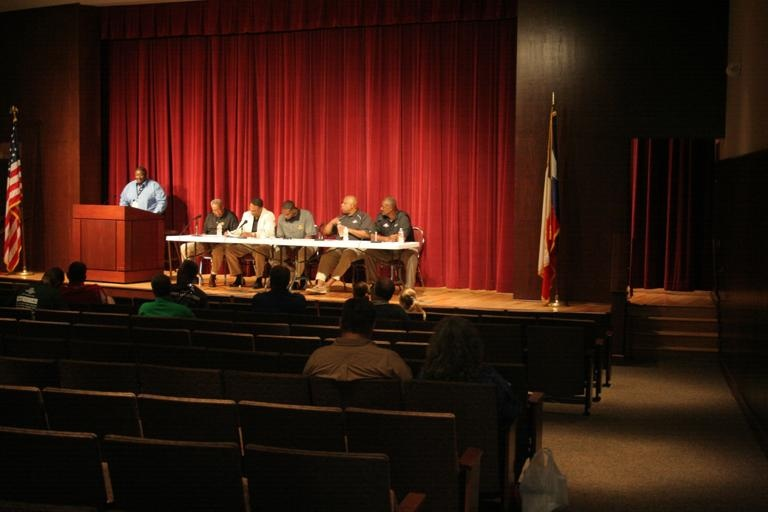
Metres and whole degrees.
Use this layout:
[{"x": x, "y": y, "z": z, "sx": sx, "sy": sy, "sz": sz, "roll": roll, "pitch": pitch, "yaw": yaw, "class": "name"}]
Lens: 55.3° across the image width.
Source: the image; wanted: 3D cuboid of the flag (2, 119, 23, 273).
[{"x": -6.115, "y": -0.923, "z": 12.005, "sx": 0.297, "sy": 2.452, "sz": 0.947, "roll": -2, "pitch": 15, "yaw": -27, "class": "flag"}]

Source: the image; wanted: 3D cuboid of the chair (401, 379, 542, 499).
[{"x": 0.602, "y": 1.112, "z": 4.978, "sx": 0.729, "sy": 0.979, "sz": 0.746, "roll": 0, "pitch": 12, "yaw": 19, "class": "chair"}]

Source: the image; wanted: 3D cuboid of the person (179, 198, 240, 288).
[{"x": -2.624, "y": -0.229, "z": 11.014, "sx": 0.800, "sy": 1.220, "sz": 0.827, "roll": 1, "pitch": 8, "yaw": -3, "class": "person"}]

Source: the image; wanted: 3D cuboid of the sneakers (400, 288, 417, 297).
[{"x": 0.252, "y": 0.386, "z": 7.754, "sx": 0.163, "sy": 0.113, "sz": 0.199, "roll": -3, "pitch": 6, "yaw": 3, "class": "sneakers"}]

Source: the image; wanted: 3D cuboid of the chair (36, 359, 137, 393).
[{"x": -1.956, "y": 0.819, "z": 4.976, "sx": 0.588, "sy": 0.198, "sz": 0.384, "roll": 6, "pitch": -11, "yaw": -7, "class": "chair"}]

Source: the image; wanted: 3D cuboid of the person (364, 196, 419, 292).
[{"x": 0.153, "y": -0.175, "z": 10.516, "sx": 0.727, "sy": 1.336, "sz": 0.682, "roll": -1, "pitch": -2, "yaw": 23, "class": "person"}]

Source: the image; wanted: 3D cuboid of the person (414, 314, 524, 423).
[{"x": 0.484, "y": 0.741, "z": 4.930, "sx": 0.582, "sy": 0.818, "sz": 0.698, "roll": 1, "pitch": -5, "yaw": 31, "class": "person"}]

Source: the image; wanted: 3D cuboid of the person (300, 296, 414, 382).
[{"x": -0.196, "y": 0.580, "z": 5.047, "sx": 0.824, "sy": 0.597, "sz": 0.474, "roll": 1, "pitch": -7, "yaw": 15, "class": "person"}]

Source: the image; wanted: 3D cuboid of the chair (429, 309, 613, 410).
[{"x": 1.154, "y": 0.868, "z": 5.995, "sx": 0.946, "sy": 0.505, "sz": 0.386, "roll": 3, "pitch": 18, "yaw": 18, "class": "chair"}]

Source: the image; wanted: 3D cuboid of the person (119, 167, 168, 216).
[{"x": -4.012, "y": -1.064, "z": 12.142, "sx": 0.740, "sy": 0.751, "sz": 0.383, "roll": 1, "pitch": 15, "yaw": 3, "class": "person"}]

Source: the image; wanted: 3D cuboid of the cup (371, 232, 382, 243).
[{"x": -0.116, "y": -0.258, "z": 10.164, "sx": 0.158, "sy": 0.160, "sz": 0.131, "roll": 4, "pitch": 13, "yaw": 22, "class": "cup"}]

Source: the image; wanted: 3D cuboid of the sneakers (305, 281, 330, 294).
[{"x": -0.934, "y": 0.447, "z": 10.111, "sx": 0.335, "sy": 0.147, "sz": 0.135, "roll": 1, "pitch": -2, "yaw": 5, "class": "sneakers"}]
